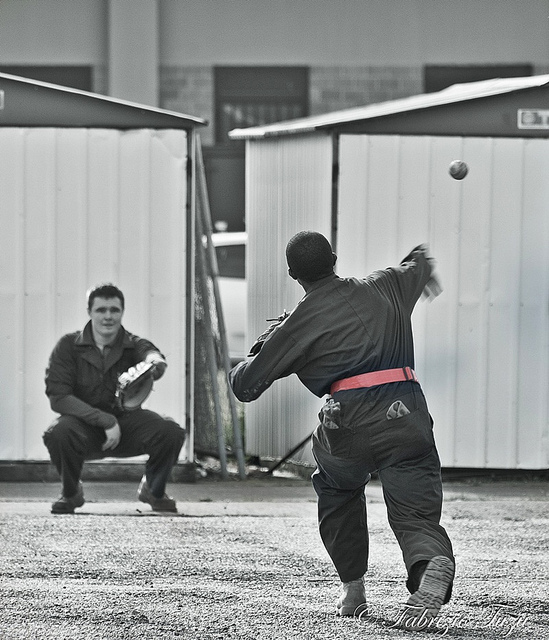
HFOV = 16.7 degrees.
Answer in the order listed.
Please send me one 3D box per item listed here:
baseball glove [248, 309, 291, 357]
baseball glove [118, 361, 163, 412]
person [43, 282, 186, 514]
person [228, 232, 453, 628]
[{"bbox_3d":[-0.029,0.065,9.329,0.083,0.241,0.179,26,-12,-1],"label":"baseball glove"},{"bbox_3d":[-0.834,0.405,11.633,0.266,0.267,0.222,-3,14,-25],"label":"baseball glove"},{"bbox_3d":[-1.002,0.509,11.615,0.880,1.452,0.713,0,-2,-3],"label":"person"},{"bbox_3d":[0.443,0.486,9.410,1.025,2.009,0.998,0,0,28],"label":"person"}]
